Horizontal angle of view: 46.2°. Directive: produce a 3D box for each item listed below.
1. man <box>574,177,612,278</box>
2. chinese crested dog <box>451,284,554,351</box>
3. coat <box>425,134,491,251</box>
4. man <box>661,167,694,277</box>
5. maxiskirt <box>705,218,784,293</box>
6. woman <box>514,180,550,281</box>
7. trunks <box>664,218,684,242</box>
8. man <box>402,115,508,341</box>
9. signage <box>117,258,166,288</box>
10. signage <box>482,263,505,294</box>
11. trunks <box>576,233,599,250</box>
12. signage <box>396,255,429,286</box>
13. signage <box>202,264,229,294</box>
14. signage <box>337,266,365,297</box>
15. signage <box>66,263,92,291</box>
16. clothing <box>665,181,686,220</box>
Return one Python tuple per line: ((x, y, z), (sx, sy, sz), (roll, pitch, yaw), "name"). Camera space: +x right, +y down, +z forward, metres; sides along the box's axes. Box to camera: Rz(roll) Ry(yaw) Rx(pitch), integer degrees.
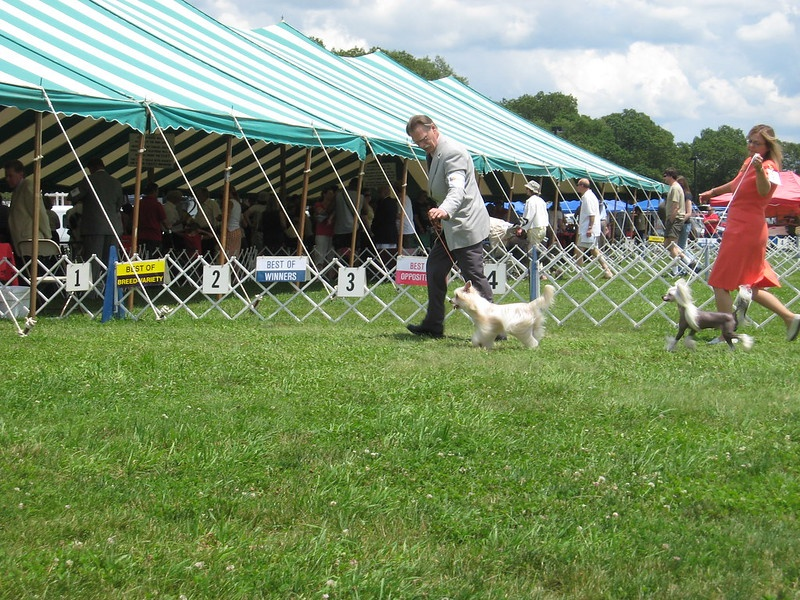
((3.219, -1.222, 15.983), (0.922, 1.683, 0.546), (1, 0, 35), "man")
((0.941, 0.149, 8.700), (0.942, 0.639, 0.353), (1, 10, 14), "chinese crested dog")
((0.458, -1.009, 8.698), (0.519, 1.089, 0.836), (0, 4, 24), "coat")
((4.667, -1.323, 15.689), (0.578, 1.781, 0.546), (3, 0, -3), "man")
((3.203, -0.489, 8.857), (0.651, 0.720, 0.618), (2, 7, -30), "maxiskirt")
((2.229, -1.219, 15.953), (0.549, 1.626, 0.522), (6, 10, 37), "woman")
((4.558, -1.181, 15.676), (0.370, 0.519, 0.298), (1, -4, 2), "trunks")
((0.435, -0.650, 8.834), (0.851, 2.175, 1.167), (1, 10, 15), "man")
((-2.835, -0.304, 10.304), (0.561, 0.296, 0.504), (-2, 4, -5), "signage")
((1.013, -0.236, 10.132), (0.309, 0.381, 0.042), (-2, 4, 6), "signage")
((3.177, -1.014, 15.940), (0.257, 0.186, 0.260), (2, -2, 6), "trunks")
((0.128, -0.332, 10.465), (0.480, 0.369, 0.283), (-2, -4, 44), "signage")
((-2.139, -0.249, 10.853), (0.321, 0.352, 0.068), (0, -5, -2), "signage")
((-0.571, -0.216, 10.895), (0.329, 0.363, 0.084), (-1, -11, 4), "signage")
((-3.623, -0.267, 10.542), (0.295, 0.366, 0.128), (0, -6, -30), "signage")
((4.559, -1.637, 15.524), (0.322, 0.630, 0.532), (2, 0, 22), "clothing")
